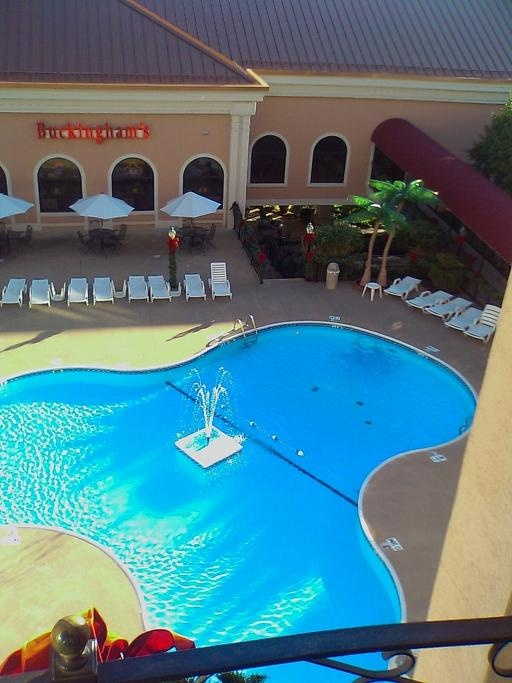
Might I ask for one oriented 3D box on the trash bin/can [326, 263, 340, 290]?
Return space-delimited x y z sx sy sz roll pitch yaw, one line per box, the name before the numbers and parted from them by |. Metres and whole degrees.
trash bin/can | 3.229 -2.760 22.697 0.675 1.131 0.585 -2 43 -2
